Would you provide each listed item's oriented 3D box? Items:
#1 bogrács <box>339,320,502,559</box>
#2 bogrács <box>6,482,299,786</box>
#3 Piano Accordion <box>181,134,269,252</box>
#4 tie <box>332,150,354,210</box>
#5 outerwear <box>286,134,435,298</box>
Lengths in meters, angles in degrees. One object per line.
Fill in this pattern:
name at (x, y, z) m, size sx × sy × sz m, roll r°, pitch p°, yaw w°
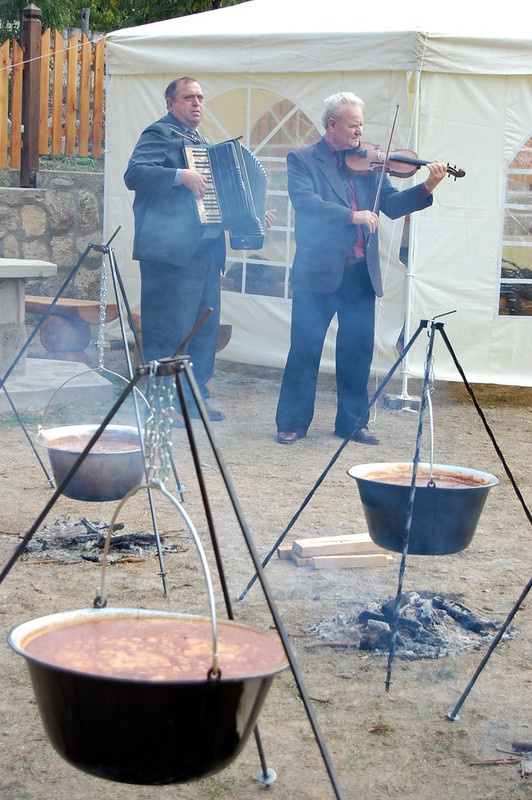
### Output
bogrács at (0.491, 0.135, 3.231) m, size 0.464 × 0.759 × 0.492 m, roll 3°, pitch 16°, yaw -1°
bogrács at (-0.222, 0.435, 2.098) m, size 0.535 × 0.509 × 0.445 m, roll 4°, pitch 16°, yaw 1°
Piano Accordion at (-0.175, -1.047, 5.549) m, size 0.332 × 0.565 × 0.490 m, roll 14°, pitch 19°, yaw 33°
tie at (0.405, -1.131, 5.552) m, size 0.055 × 0.288 × 0.144 m, roll 14°, pitch 28°, yaw 24°
outerwear at (0.358, -0.936, 5.467) m, size 0.566 × 0.953 × 0.298 m, roll 1°, pitch 2°, yaw -18°
